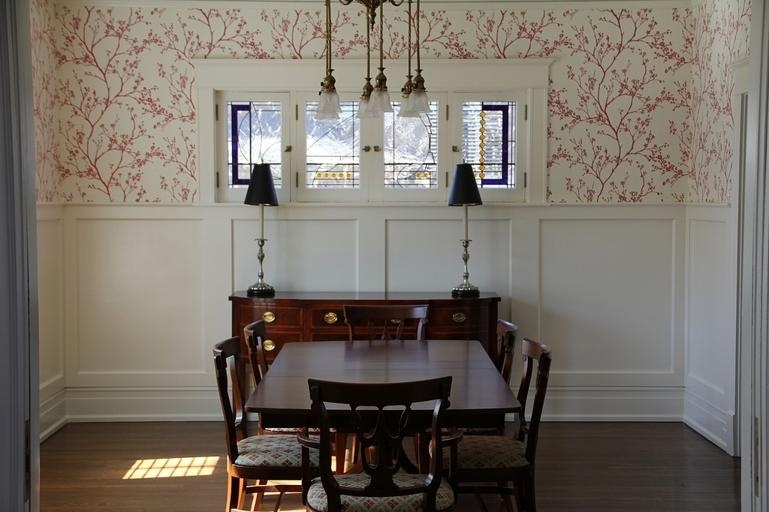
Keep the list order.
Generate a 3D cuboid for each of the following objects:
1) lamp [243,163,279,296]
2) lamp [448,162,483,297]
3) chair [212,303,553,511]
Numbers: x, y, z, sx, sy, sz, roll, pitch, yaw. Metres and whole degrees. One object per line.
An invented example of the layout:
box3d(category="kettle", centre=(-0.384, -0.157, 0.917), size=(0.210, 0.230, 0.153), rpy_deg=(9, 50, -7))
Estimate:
box3d(category="lamp", centre=(-1.003, -0.220, 5.352), size=(0.262, 1.072, 0.456), rpy_deg=(-2, 7, -10))
box3d(category="lamp", centre=(0.651, -0.224, 5.357), size=(0.250, 1.082, 0.420), rpy_deg=(0, 7, 5))
box3d(category="chair", centre=(0.182, 1.056, 4.111), size=(1.617, 1.244, 1.607), rpy_deg=(1, 7, 11))
